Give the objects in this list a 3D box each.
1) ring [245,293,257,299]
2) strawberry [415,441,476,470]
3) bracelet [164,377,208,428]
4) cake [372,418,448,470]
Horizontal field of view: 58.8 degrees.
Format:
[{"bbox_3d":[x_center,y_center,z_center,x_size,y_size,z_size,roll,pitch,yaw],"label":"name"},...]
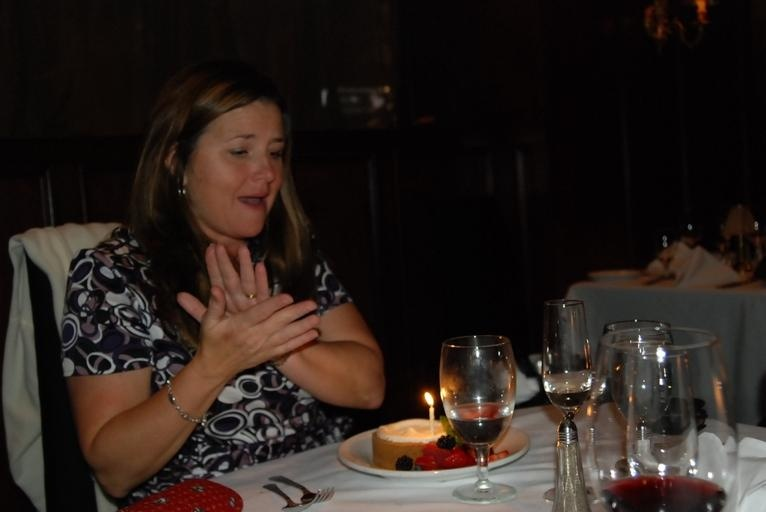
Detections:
[{"bbox_3d":[-0.351,0.107,1.820,0.027,0.014,0.008,-7,2,-33],"label":"ring"},{"bbox_3d":[0.145,0.453,1.597,0.088,0.040,0.069,-1,-3,-26],"label":"strawberry"},{"bbox_3d":[-0.511,0.389,1.819,0.112,0.136,0.023,-42,3,23],"label":"bracelet"},{"bbox_3d":[0.069,0.488,1.727,0.205,0.091,0.211,8,-11,-23],"label":"cake"}]
